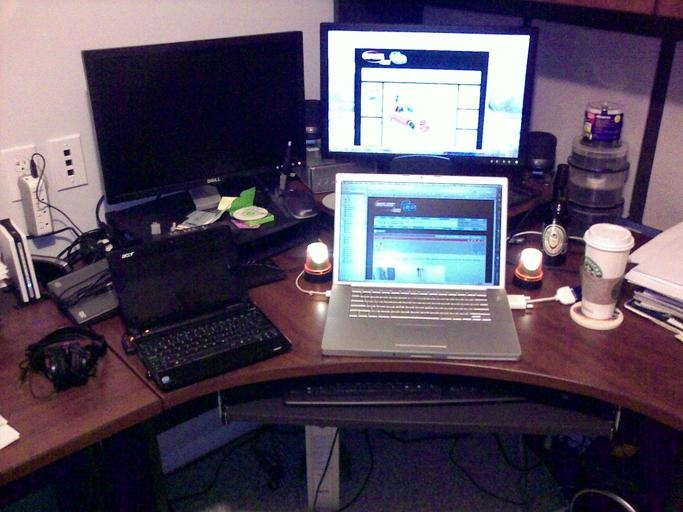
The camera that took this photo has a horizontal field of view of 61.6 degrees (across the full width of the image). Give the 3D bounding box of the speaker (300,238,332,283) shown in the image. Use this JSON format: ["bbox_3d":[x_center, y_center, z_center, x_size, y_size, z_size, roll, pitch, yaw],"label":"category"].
[{"bbox_3d":[-0.075,0.025,1.720,0.081,0.092,0.083,4,16,16],"label":"speaker"}]

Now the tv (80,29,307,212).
[{"bbox_3d":[-0.480,-0.428,1.767,0.555,0.383,0.048,-23,38,-30],"label":"tv"}]

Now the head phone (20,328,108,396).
[{"bbox_3d":[-0.694,0.260,1.424,0.171,0.083,0.224,-11,-11,-46],"label":"head phone"}]

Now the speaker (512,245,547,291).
[{"bbox_3d":[0.546,0.037,1.697,0.092,0.106,0.095,10,16,11],"label":"speaker"}]

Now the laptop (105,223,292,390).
[{"bbox_3d":[-0.360,0.111,1.470,0.383,0.222,0.402,24,33,35],"label":"laptop"}]

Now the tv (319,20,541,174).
[{"bbox_3d":[0.267,-0.507,1.812,0.609,0.393,0.026,3,29,4],"label":"tv"}]

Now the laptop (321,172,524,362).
[{"bbox_3d":[0.204,0.029,1.591,0.538,0.337,0.488,2,46,2],"label":"laptop"}]

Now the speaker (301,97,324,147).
[{"bbox_3d":[-0.112,-0.484,2.059,0.086,0.147,0.086,-4,14,-17],"label":"speaker"}]
